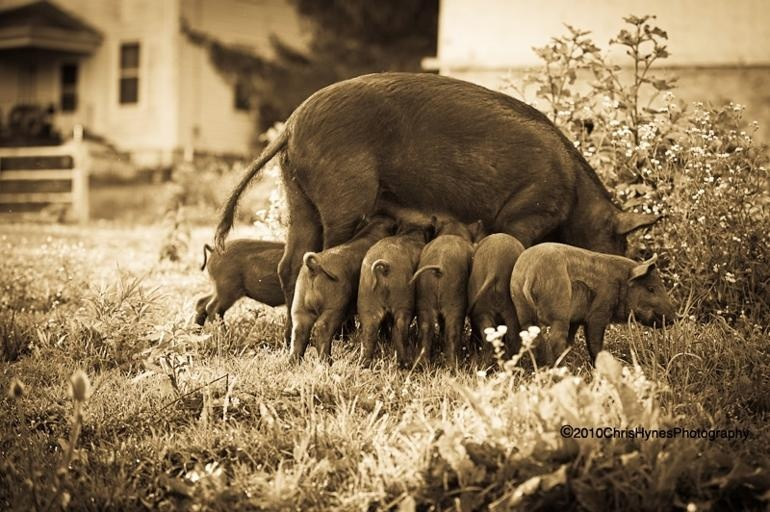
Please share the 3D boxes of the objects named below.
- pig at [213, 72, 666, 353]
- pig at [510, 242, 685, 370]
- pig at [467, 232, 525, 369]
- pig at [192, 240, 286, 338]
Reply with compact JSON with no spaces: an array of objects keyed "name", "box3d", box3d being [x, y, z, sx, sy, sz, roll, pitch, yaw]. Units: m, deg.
[{"name":"pig","box3d":[0.855,-0.434,10.234,5.405,2.971,1.377,7,2,-12]},{"name":"pig","box3d":[2.035,0.440,8.830,1.841,1.244,0.929,3,4,-15]},{"name":"pig","box3d":[1.043,0.434,9.279,0.590,1.271,0.751,0,-2,-4]},{"name":"pig","box3d":[-2.149,0.242,10.707,1.934,1.068,0.501,-3,2,5]}]
